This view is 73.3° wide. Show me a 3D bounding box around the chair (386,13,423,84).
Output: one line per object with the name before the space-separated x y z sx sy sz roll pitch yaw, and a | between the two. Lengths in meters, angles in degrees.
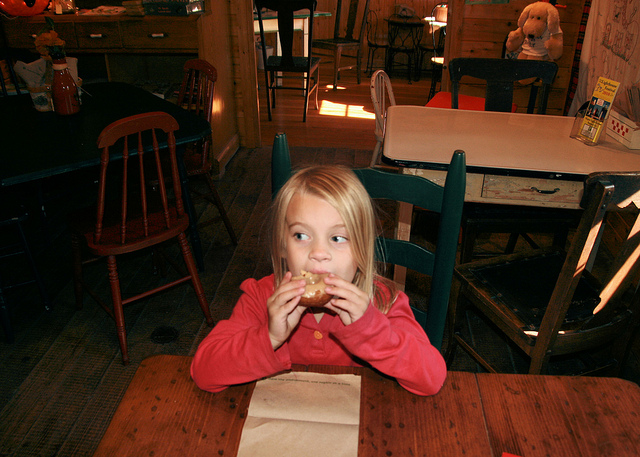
chair | 1.484 -3.254 7.670 0.657 1.066 1.325 5 28 8

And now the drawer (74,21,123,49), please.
drawer | -1.976 -1.725 3.816 0.413 0.230 0.082 8 28 13

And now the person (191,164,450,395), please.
person | -0.041 0.230 1.433 0.925 0.813 0.617 0 2 2

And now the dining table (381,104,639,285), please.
dining table | 0.940 -0.493 2.527 1.264 0.981 1.046 1 37 1

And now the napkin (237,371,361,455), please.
napkin | -0.042 0.458 1.062 0.274 0.049 0.220 4 27 4

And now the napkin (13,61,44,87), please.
napkin | -2.466 -1.316 3.619 0.239 0.176 0.110 14 30 23

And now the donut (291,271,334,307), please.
donut | -0.019 0.167 1.182 0.118 0.089 0.101 6 28 9
